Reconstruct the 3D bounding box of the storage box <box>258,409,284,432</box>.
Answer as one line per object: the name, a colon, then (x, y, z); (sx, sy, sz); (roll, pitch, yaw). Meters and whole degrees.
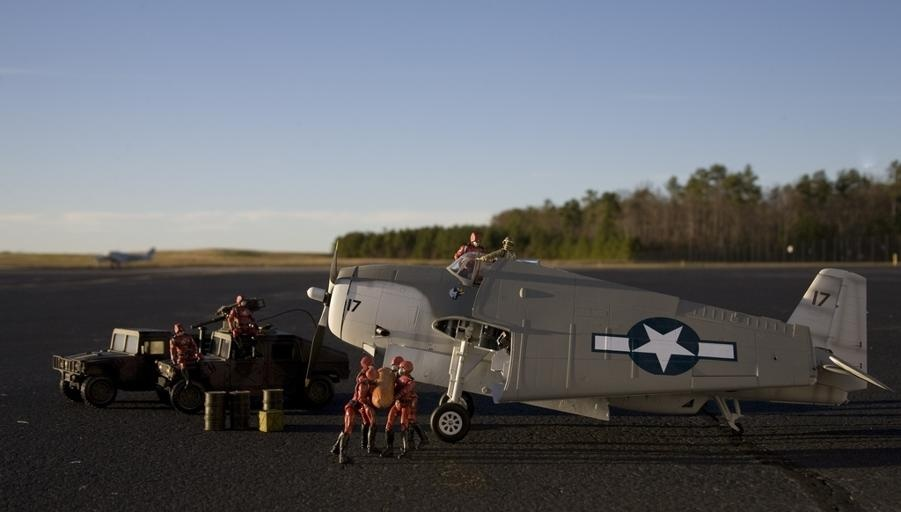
storage box: (-5.476, 4.983, 24.101); (0.704, 0.589, 0.662); (3, -6, -29)
